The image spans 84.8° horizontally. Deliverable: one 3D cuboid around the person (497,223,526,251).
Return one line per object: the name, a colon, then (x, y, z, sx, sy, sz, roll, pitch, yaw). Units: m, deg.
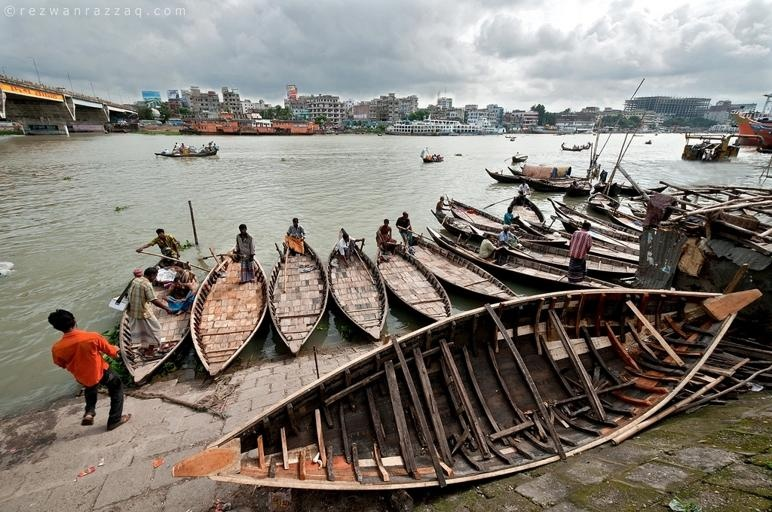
person: (5.922, -0.845, 20.212, 1.589, 1.435, 0.945, 2, 57, 14)

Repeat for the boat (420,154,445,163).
boat: (6.162, -12.222, 55.722, 1.919, 0.928, 3.782, 9, 20, 16)

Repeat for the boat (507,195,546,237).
boat: (8.631, -2.277, 25.639, 2.042, 0.856, 4.952, -1, 27, 5)

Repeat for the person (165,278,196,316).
person: (-7.719, 1.524, 16.201, 0.887, 1.282, 1.896, 21, -4, -34)

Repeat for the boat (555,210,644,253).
boat: (11.003, -1.207, 22.653, 5.194, 0.852, 1.068, 32, 49, 33)

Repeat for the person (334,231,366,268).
person: (-1.840, -0.520, 19.870, 1.427, 0.704, 1.627, 13, 51, -22)

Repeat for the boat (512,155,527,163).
boat: (20.066, -13.954, 62.939, 1.261, 0.753, 4.569, 37, 34, 19)

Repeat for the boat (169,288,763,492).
boat: (3.186, 3.516, 11.603, 14.231, 3.923, 4.150, -5, 23, -23)

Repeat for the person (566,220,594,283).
person: (7.805, -0.151, 16.934, 0.846, 2.425, 0.993, 14, 25, 22)

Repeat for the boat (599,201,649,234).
boat: (14.200, -2.200, 25.443, 1.451, 0.838, 4.937, -8, 28, 7)

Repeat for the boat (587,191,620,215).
boat: (15.234, -3.556, 29.759, 1.854, 0.995, 2.816, 1, 29, 17)

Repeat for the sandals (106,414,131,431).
sandals: (-7.634, 4.650, 12.221, 0.223, 0.248, 0.669, 30, 32, 35)

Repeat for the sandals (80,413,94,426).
sandals: (-8.638, 4.654, 12.236, 0.460, 0.174, 0.223, -24, -27, 38)

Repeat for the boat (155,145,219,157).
boat: (-27.423, -14.081, 58.745, 4.345, 1.773, 7.309, 13, 21, 25)
